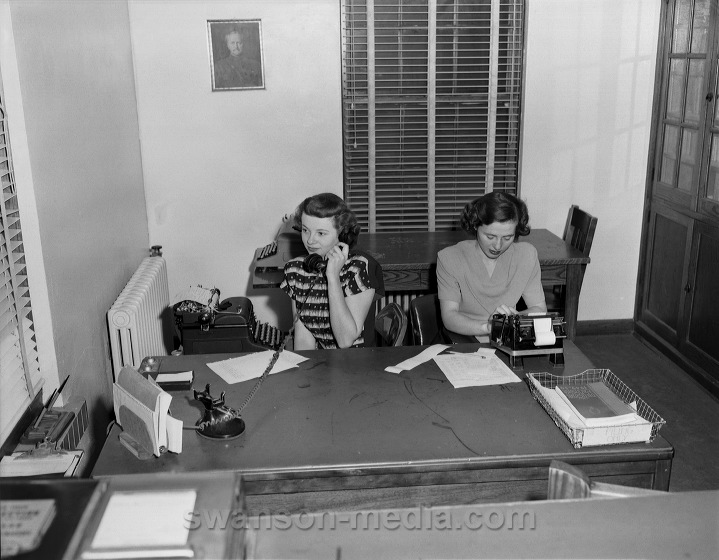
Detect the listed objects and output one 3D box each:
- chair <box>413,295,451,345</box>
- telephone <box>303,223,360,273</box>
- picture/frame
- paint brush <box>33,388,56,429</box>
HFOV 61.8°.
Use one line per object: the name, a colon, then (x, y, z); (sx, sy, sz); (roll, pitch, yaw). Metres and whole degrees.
chair: (0.390, 0.213, 3.284); (0.188, 0.342, 0.210); (-9, 10, -29)
telephone: (-0.160, -0.154, 3.012); (0.304, 0.255, 0.185); (-2, 21, 4)
picture/frame: (-0.934, -1.694, 4.437); (0.420, 0.529, 0.053); (-2, 11, -3)
paint brush: (-1.369, 0.561, 2.608); (0.039, 0.057, 0.170); (22, 79, 38)
